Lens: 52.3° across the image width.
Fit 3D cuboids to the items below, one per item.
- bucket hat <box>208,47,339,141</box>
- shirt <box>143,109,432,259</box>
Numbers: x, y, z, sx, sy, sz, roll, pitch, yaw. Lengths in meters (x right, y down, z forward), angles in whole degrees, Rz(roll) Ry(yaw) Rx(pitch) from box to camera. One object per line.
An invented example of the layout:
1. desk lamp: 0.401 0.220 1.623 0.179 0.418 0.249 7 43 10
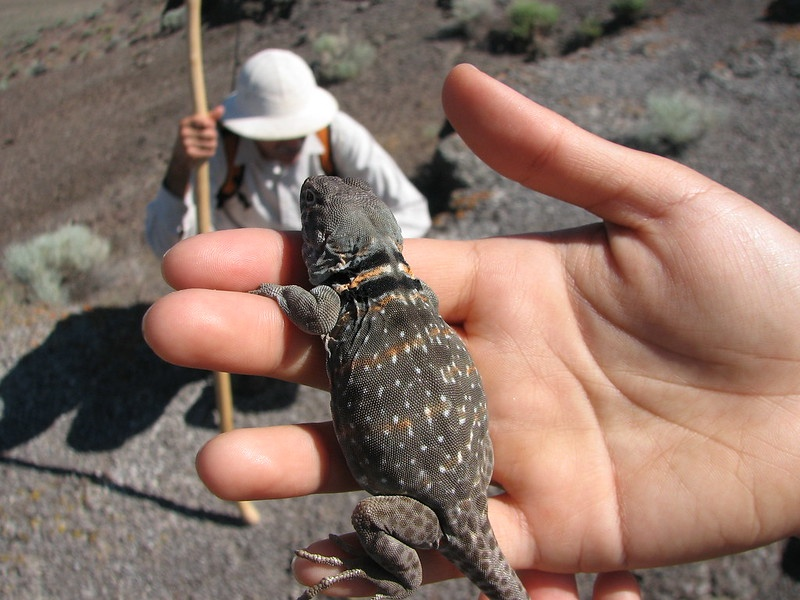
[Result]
1. bucket hat: -0.735 -1.141 4.980 0.663 0.665 0.419 -24 61 -3
2. shirt: -0.728 -0.751 5.369 2.065 0.733 1.031 -2 23 13
